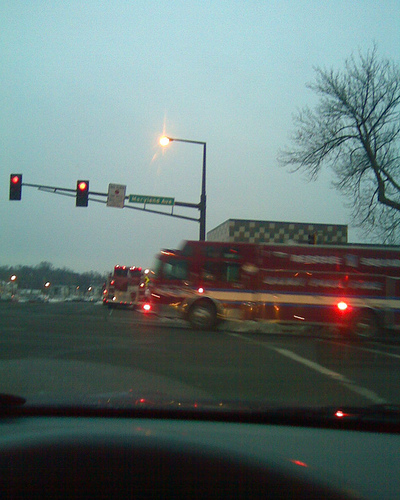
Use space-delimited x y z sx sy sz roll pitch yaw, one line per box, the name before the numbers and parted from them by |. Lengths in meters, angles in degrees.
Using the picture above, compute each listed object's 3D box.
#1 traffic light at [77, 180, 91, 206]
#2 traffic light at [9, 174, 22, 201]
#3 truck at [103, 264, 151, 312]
traffic light | -4.678 -2.287 19.954 0.507 1.050 1.076 6 -7 -15
traffic light | -7.061 -2.405 19.106 0.357 1.047 0.347 -1 -8 37
truck | -4.061 2.655 29.412 2.724 2.227 4.314 4 -15 7
